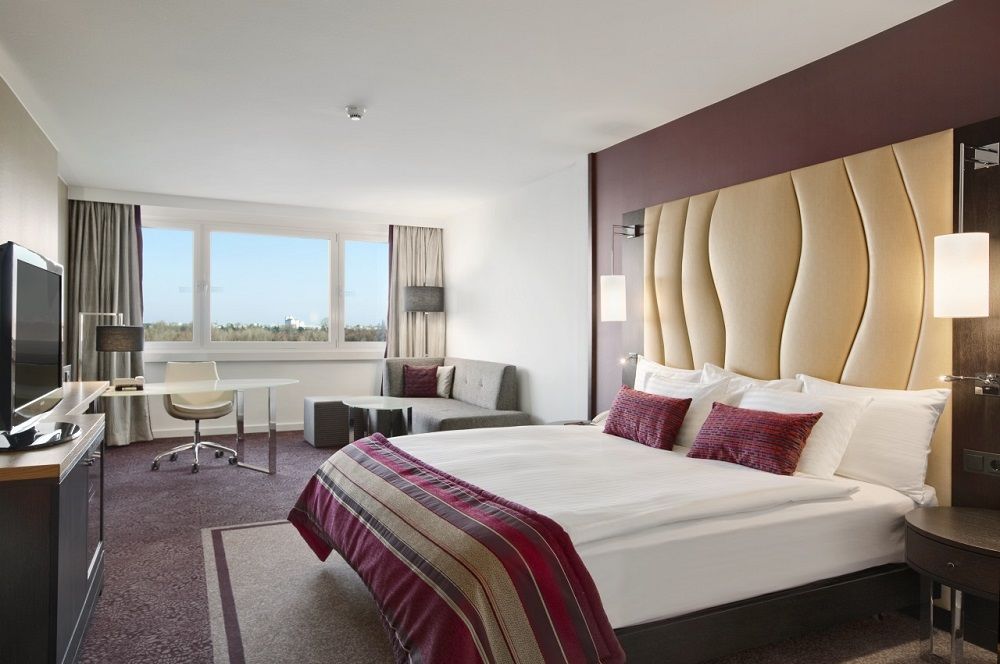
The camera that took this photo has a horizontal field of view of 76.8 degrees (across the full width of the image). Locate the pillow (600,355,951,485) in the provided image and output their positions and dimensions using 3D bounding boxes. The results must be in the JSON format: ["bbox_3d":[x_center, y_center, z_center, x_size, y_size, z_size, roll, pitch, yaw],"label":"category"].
[{"bbox_3d":[1.888,0.547,3.834,0.548,0.565,1.227,-6,10,-40],"label":"pillow"}]

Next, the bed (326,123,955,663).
[{"bbox_3d":[0.890,0.173,3.826,2.842,1.785,2.809,-3,3,-23],"label":"bed"}]

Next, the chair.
[{"bbox_3d":[-3.174,0.823,6.576,1.006,1.337,1.001,2,-5,-34],"label":"chair"}]

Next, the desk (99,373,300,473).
[{"bbox_3d":[-2.890,0.864,6.325,1.399,1.014,1.757,-3,8,-26],"label":"desk"}]
